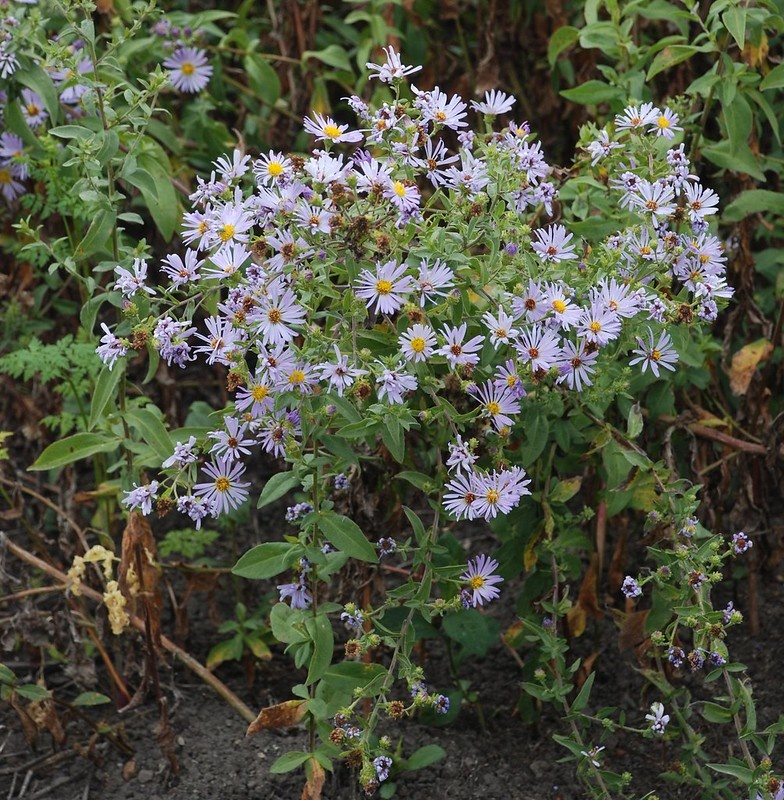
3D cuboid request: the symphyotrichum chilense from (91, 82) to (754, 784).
[{"bbox_3d":[0.125,-0.053,2.720,1.521,0.898,1.639,-1,97,-2],"label":"symphyotrichum chilense"}]
